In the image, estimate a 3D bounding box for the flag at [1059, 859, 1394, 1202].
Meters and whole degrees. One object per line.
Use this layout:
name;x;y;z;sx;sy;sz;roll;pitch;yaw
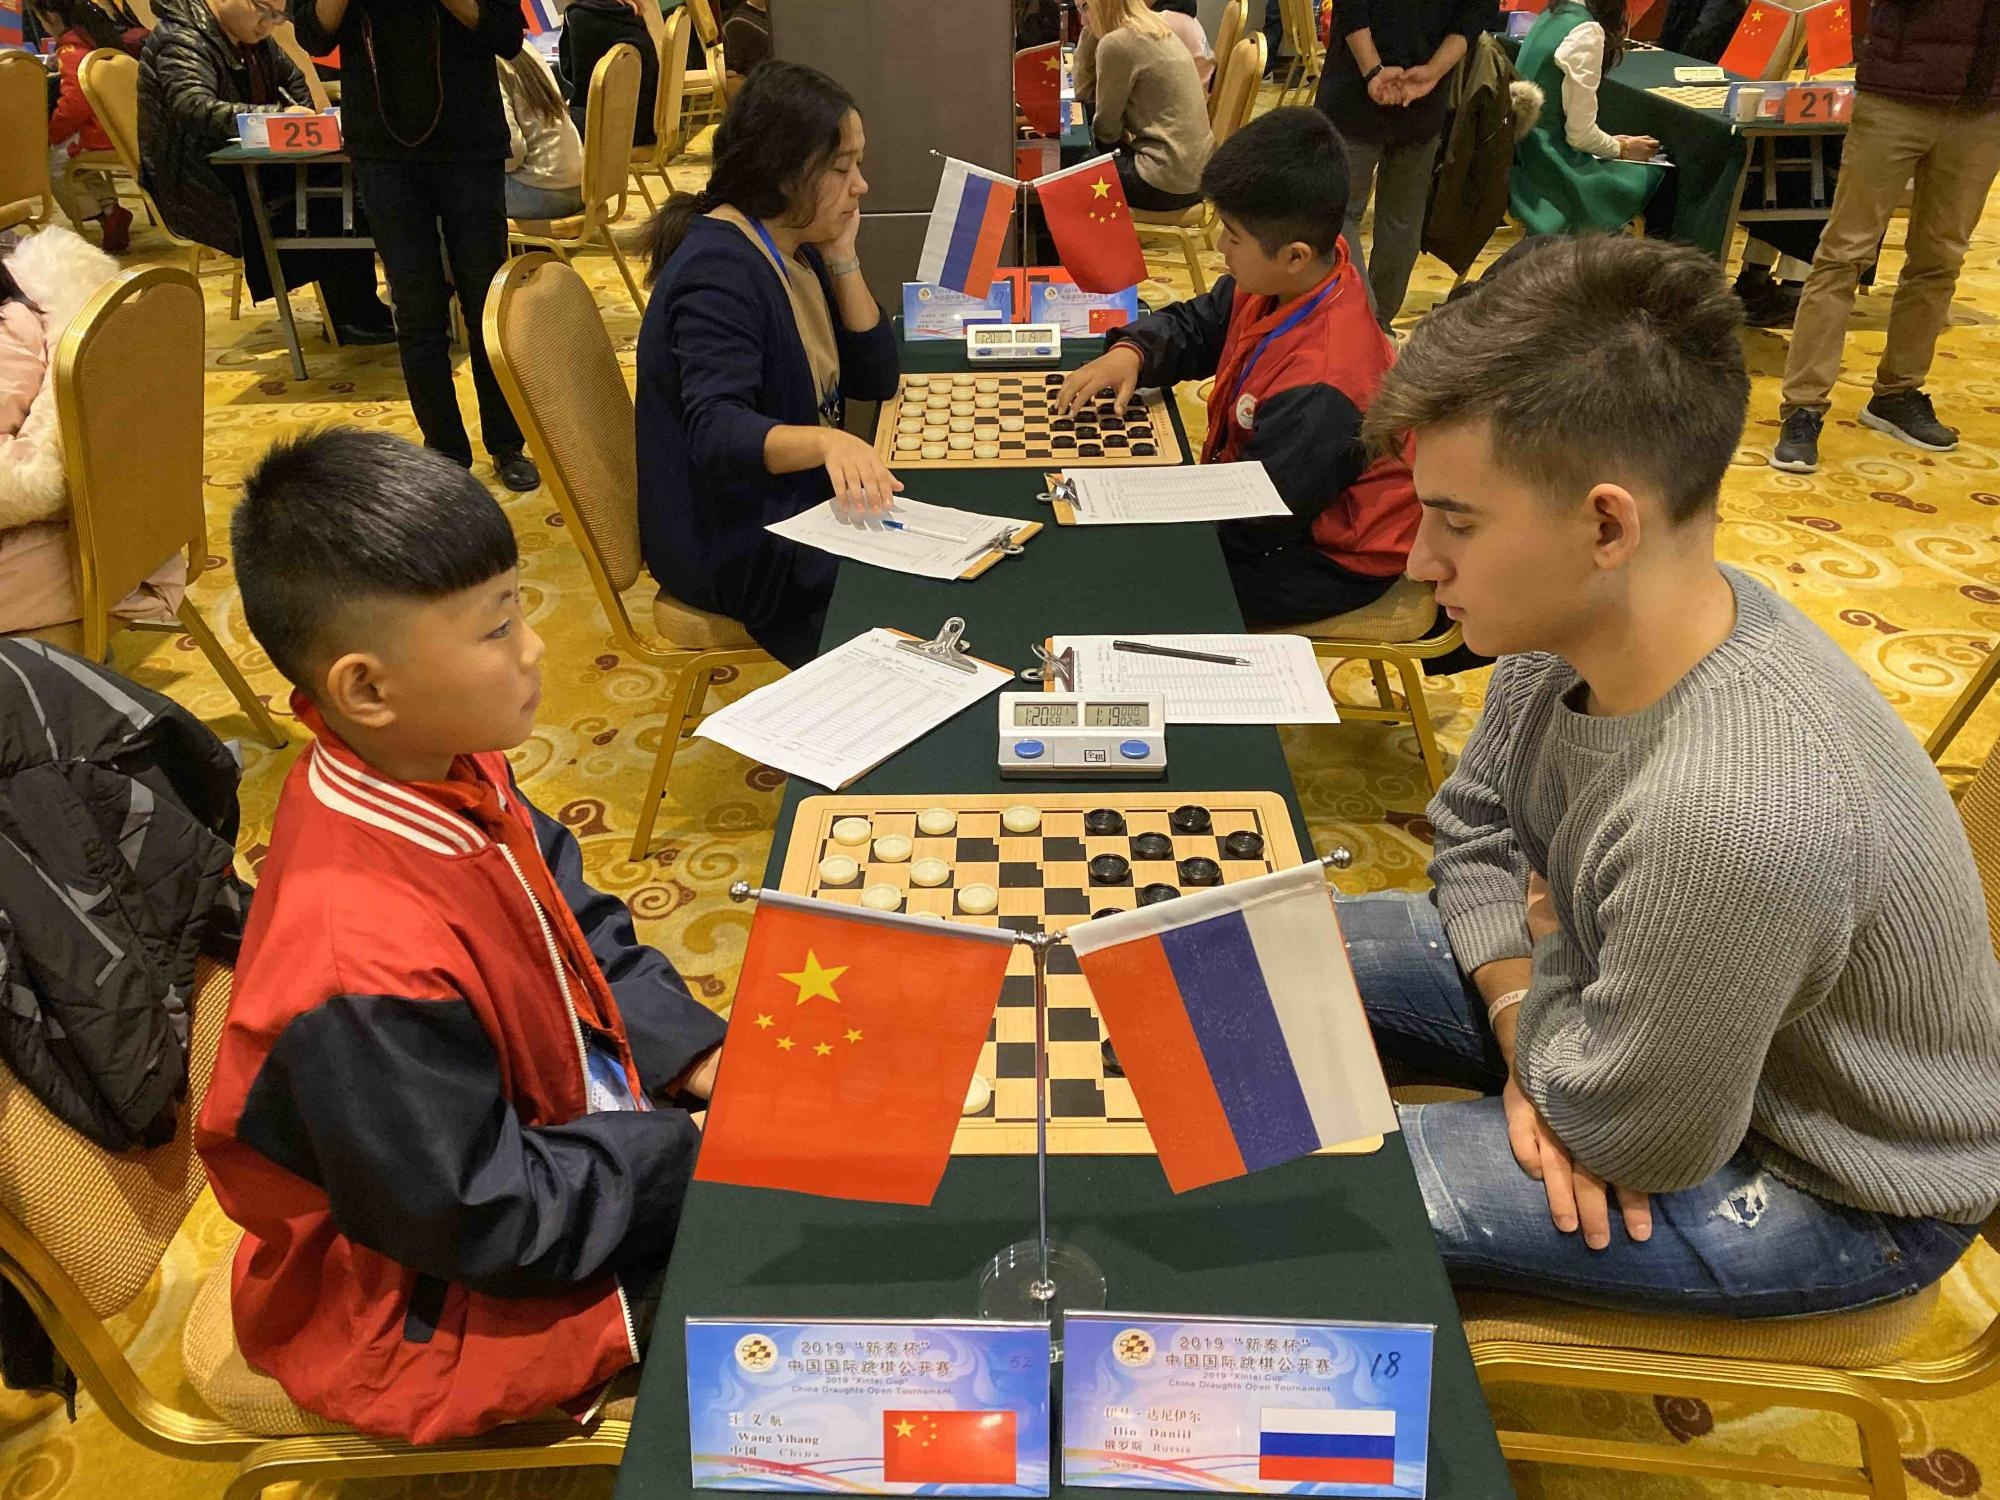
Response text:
flag;0.220;0.305;1.521;0.345;0.384;0.031;-22;31;6

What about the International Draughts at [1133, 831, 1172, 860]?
International Draughts;0.204;0.135;1.972;0.041;0.012;0.037;0;28;4

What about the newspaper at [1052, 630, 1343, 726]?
newspaper;0.283;-0.101;2.264;0.416;0.061;0.257;1;24;0

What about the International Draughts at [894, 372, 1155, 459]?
International Draughts;0.050;-0.672;3.146;0.383;0.014;0.384;0;29;2

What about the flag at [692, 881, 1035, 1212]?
flag;-0.123;0.315;1.508;0.406;0.415;0.041;11;32;-15

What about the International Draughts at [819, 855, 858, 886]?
International Draughts;-0.210;0.159;1.917;0.044;0.011;0.039;0;36;1

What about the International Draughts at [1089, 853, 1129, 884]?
International Draughts;0.141;0.158;1.908;0.044;0.015;0.039;-4;34;-4

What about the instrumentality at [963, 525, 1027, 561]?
instrumentality;-0.009;-0.377;2.655;0.108;0.024;0.070;-36;24;-30

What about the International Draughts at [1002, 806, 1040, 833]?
International Draughts;0.026;0.099;2.009;0.041;0.009;0.037;-9;25;-14

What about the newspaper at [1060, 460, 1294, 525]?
newspaper;0.316;-0.469;2.795;0.299;0.028;0.198;-3;32;-2

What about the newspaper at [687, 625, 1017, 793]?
newspaper;-0.216;-0.058;2.217;0.260;0.034;0.342;19;34;29

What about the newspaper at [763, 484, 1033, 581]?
newspaper;-0.173;-0.368;2.655;0.325;0.040;0.229;15;35;24

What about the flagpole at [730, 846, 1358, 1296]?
flagpole;0.050;0.357;1.518;0.588;0.340;0.095;-2;36;0

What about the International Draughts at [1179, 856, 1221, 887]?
International Draughts;0.255;0.163;1.893;0.042;0.009;0.038;1;24;5

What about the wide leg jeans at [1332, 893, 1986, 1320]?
wide leg jeans;0.771;0.484;1.678;0.587;0.122;0.533;4;42;-12

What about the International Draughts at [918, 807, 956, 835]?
International Draughts;-0.084;0.102;2.007;0.041;0.008;0.037;6;32;13
